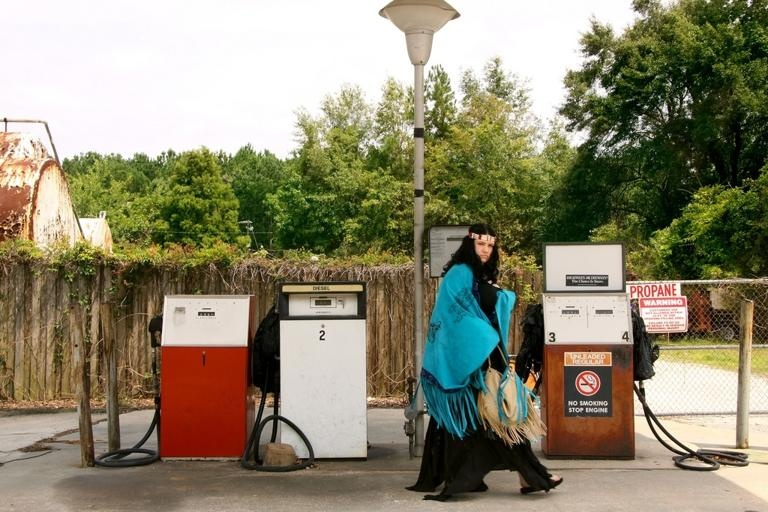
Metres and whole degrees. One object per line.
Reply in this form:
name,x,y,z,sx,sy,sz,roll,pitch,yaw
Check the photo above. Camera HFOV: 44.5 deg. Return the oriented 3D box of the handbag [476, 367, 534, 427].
handbag,1.847,2.176,14.626,0.617,0.927,0.869,-3,-8,-8
